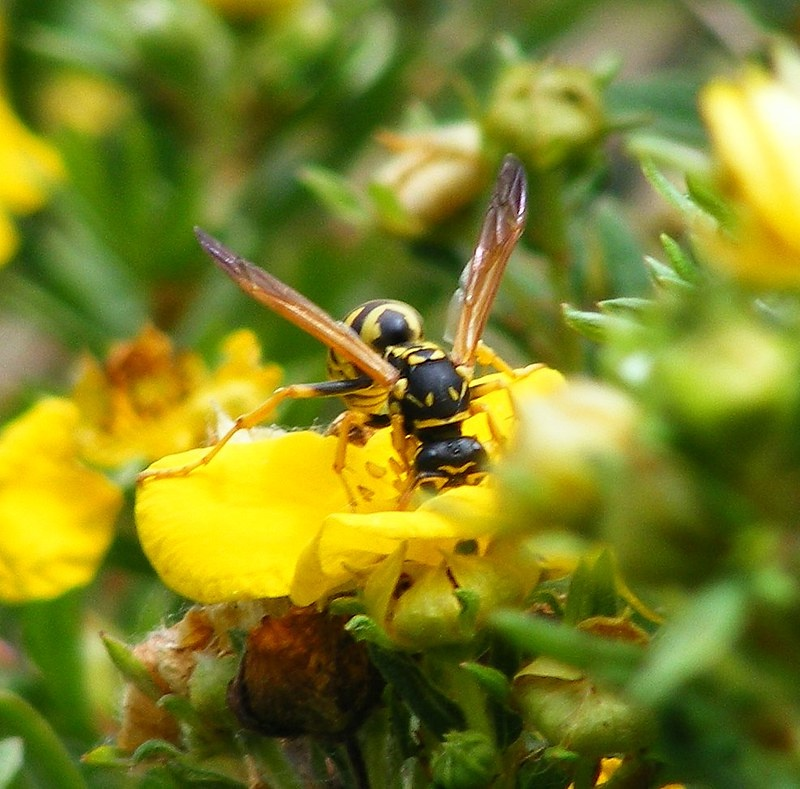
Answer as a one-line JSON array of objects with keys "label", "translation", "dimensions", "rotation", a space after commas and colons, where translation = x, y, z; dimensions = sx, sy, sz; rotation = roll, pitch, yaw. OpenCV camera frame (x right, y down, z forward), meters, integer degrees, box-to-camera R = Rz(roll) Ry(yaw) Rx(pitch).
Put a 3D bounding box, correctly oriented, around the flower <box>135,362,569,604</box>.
[{"label": "flower", "translation": [-0.043, 0.052, 0.606], "dimensions": [0.144, 0.039, 0.146], "rotation": [-18, 11, -36]}]
